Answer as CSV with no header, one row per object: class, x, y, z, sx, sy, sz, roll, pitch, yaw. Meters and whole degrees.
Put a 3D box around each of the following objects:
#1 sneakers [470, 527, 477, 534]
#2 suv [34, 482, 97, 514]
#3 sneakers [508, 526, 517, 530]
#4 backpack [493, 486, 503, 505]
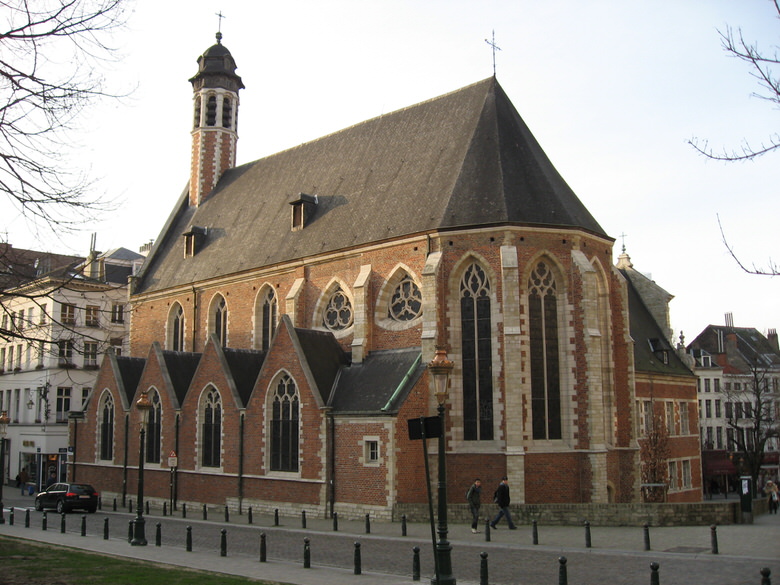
sneakers,3.736,10.582,56.100,0.201,0.176,0.165,15,-21,-36
suv,-16.905,10.633,65.383,3.185,1.143,1.479,-6,-13,41
sneakers,5.522,10.538,56.727,0.291,0.175,0.224,-2,3,-12
backpack,4.893,9.090,56.688,0.255,0.841,0.689,3,-15,-16
